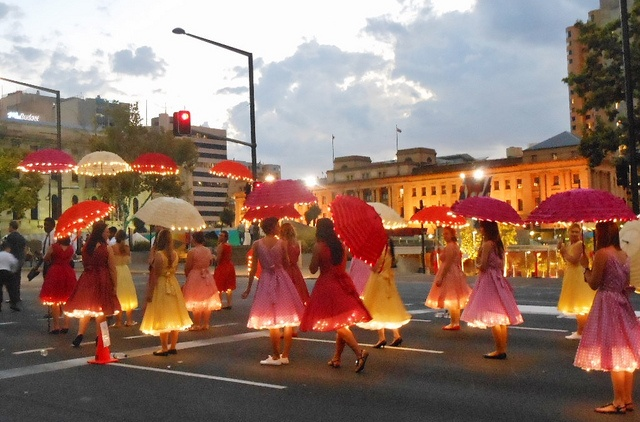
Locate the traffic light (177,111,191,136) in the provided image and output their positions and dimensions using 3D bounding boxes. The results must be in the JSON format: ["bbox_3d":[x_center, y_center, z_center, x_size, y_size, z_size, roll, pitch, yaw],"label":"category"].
[{"bbox_3d":[-5.662,-3.660,23.553,0.482,0.938,0.696,0,-2,-9],"label":"traffic light"}]

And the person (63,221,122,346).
[{"bbox_3d":[-5.083,1.671,13.006,1.376,2.876,1.054,-2,-3,41],"label":"person"}]

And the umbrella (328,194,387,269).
[{"bbox_3d":[0.749,0.317,10.703,1.223,1.241,0.503,36,-45,-24],"label":"umbrella"}]

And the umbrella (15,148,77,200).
[{"bbox_3d":[-9.162,-1.366,19.307,1.371,1.212,1.366,0,3,-22],"label":"umbrella"}]

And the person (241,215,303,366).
[{"bbox_3d":[-0.934,1.609,11.578,1.130,2.934,1.385,0,-2,-8],"label":"person"}]

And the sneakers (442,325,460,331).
[{"bbox_3d":[3.414,3.049,14.747,0.389,0.106,0.157,4,-5,13],"label":"sneakers"}]

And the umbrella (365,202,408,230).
[{"bbox_3d":[2.009,0.179,16.051,0.928,0.358,0.997,-2,5,-26],"label":"umbrella"}]

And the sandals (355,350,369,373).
[{"bbox_3d":[0.781,2.855,10.769,0.228,0.395,0.292,0,-2,1],"label":"sandals"}]

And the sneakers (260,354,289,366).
[{"bbox_3d":[-0.911,2.996,11.391,0.584,0.244,0.203,1,-10,-4],"label":"sneakers"}]

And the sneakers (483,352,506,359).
[{"bbox_3d":[3.602,2.970,11.698,0.456,0.190,0.158,4,-5,18],"label":"sneakers"}]

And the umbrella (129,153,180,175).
[{"bbox_3d":[-5.815,-1.761,20.299,1.392,0.838,1.725,0,-2,-2],"label":"umbrella"}]

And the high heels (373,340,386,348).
[{"bbox_3d":[1.295,2.987,12.652,0.328,0.170,0.118,-4,-12,19],"label":"high heels"}]

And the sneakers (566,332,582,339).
[{"bbox_3d":[6.017,2.968,13.442,0.335,0.148,0.125,-2,-4,10],"label":"sneakers"}]
